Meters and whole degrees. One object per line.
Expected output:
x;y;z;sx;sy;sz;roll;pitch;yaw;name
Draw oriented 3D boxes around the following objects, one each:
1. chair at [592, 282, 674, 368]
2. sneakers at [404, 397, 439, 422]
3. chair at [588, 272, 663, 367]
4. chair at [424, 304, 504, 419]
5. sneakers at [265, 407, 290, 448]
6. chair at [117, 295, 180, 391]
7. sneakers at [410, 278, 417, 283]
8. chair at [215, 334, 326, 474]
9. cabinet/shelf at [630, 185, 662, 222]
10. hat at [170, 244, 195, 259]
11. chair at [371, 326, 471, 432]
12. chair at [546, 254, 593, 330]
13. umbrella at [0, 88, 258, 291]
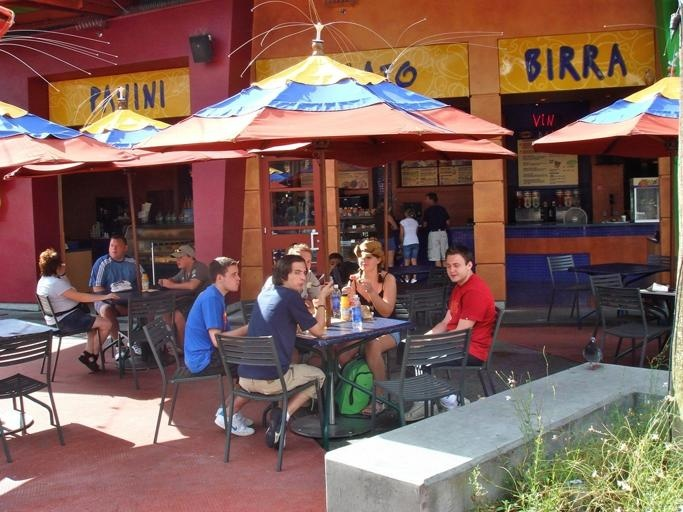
3.242;0.713;7.611;0.791;1.009;0.829;0;-25;10;chair
0.737;1.451;6.493;0.261;0.134;0.368;-6;-8;22;sneakers
3.170;0.773;7.625;0.786;1.037;0.699;-13;3;-30;chair
1.358;1.013;7.009;0.977;1.444;0.796;1;-3;-4;chair
-0.572;1.456;5.947;0.151;0.418;0.184;6;7;18;sneakers
-2.145;0.901;7.731;0.556;0.996;0.640;-3;-10;-15;chair
1.152;0.392;11.161;0.075;0.082;0.207;-3;-2;8;sneakers
-0.682;1.139;5.960;0.843;1.064;0.977;-8;10;-33;chair
5.859;-1.038;13.150;0.610;0.681;0.588;-2;11;24;cabinet/shelf
-2.426;-0.087;10.628;0.259;0.206;0.410;0;-11;24;hat
0.704;1.040;6.068;0.803;1.038;1.267;-1;9;8;chair
3.451;0.481;10.349;0.523;0.918;0.598;-7;8;-30;chair
-2.534;-0.807;7.800;2.436;2.090;2.411;-4;3;-5;umbrella
